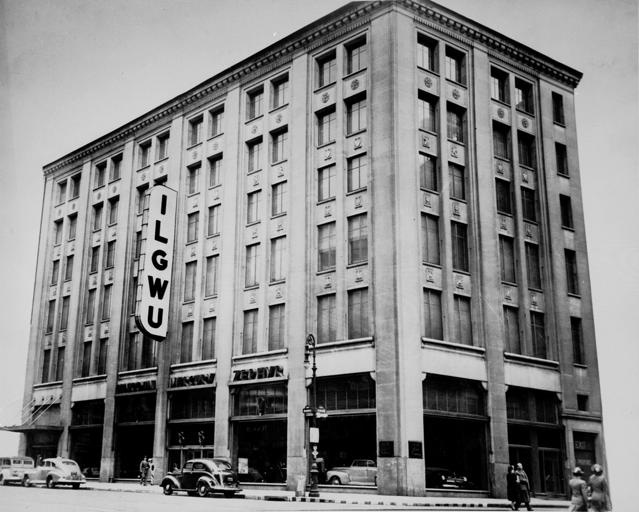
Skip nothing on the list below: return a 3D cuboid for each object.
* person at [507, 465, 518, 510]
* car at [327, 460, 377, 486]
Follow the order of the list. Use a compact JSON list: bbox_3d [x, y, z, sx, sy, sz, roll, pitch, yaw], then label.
[{"bbox_3d":[9.036,10.981,32.129,0.488,1.634,0.839,-6,-24,15],"label":"person"},{"bbox_3d":[1.847,11.801,37.063,2.133,0.989,1.331,-3,-25,15],"label":"car"}]
